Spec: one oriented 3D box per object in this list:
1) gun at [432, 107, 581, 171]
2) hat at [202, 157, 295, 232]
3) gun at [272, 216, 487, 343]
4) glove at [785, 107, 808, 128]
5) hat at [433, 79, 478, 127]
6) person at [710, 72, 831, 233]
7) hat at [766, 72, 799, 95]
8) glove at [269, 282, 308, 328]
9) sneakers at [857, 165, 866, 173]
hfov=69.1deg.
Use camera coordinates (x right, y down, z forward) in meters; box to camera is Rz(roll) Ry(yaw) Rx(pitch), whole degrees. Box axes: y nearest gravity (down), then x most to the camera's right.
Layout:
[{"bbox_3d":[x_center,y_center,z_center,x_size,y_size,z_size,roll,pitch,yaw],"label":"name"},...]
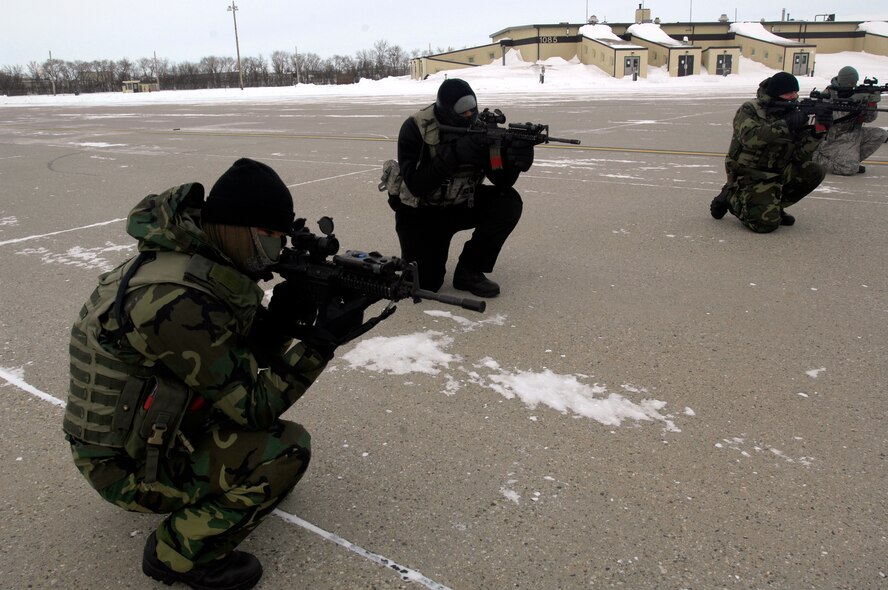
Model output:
[{"bbox_3d":[0.493,-1.284,5.448,0.979,0.527,0.483,-9,23,-25],"label":"gun"},{"bbox_3d":[-0.896,-0.430,2.998,0.368,0.278,0.369,15,-3,-13],"label":"hat"},{"bbox_3d":[-0.507,-0.030,3.254,1.453,0.643,0.460,12,14,33],"label":"gun"},{"bbox_3d":[3.925,-2.001,7.232,0.255,0.253,0.078,9,-24,-12],"label":"glove"},{"bbox_3d":[0.115,-1.663,5.523,0.320,0.403,0.417,-22,29,-36],"label":"hat"},{"bbox_3d":[3.758,-1.689,7.545,1.256,1.704,1.126,5,21,29],"label":"person"},{"bbox_3d":[3.942,-2.493,7.542,0.352,0.296,0.254,4,28,12],"label":"hat"},{"bbox_3d":[-0.788,0.045,3.308,0.233,0.223,0.173,-1,12,-6],"label":"glove"},{"bbox_3d":[6.672,-2.022,10.326,0.095,0.112,0.273,-1,5,31],"label":"sneakers"}]
